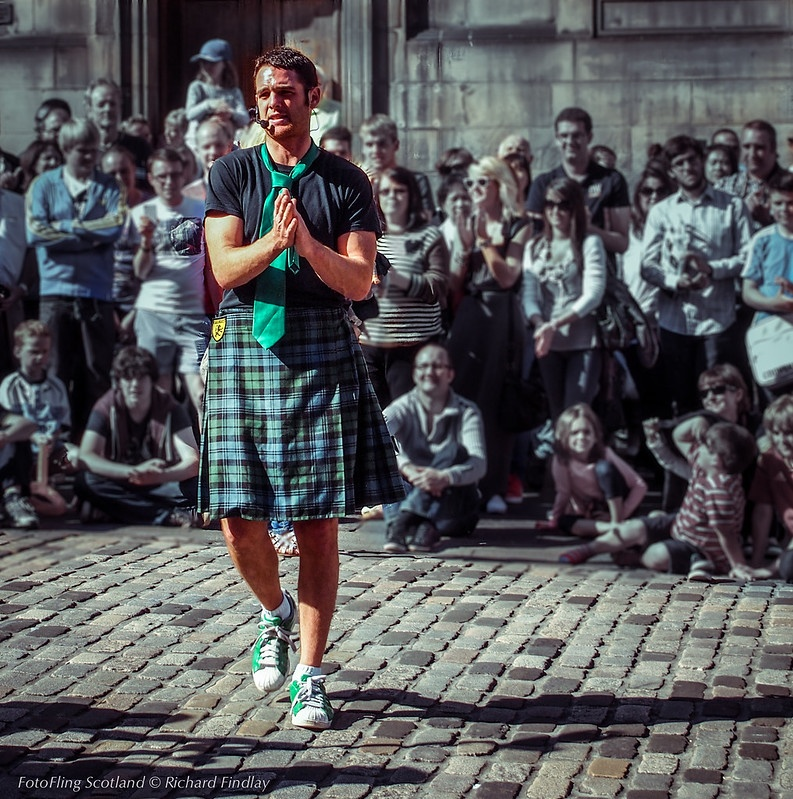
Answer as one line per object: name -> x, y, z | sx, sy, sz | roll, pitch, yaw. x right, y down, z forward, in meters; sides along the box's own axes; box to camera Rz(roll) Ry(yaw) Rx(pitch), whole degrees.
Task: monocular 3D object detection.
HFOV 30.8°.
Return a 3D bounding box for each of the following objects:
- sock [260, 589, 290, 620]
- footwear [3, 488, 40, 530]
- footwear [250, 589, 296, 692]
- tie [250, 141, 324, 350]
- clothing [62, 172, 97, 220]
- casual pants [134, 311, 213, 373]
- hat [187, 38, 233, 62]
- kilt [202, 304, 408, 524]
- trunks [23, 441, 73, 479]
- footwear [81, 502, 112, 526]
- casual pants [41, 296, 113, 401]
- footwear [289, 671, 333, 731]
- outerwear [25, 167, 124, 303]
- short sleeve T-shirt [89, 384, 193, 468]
sock -> -0.362, 0.585, 4.297 | 0.045, 0.122, 0.053 | 7, 6, 12
footwear -> -1.740, 0.498, 6.620 | 0.095, 0.121, 0.264 | -13, 17, -34
footwear -> -0.363, 0.703, 4.282 | 0.120, 0.118, 0.338 | 3, 37, 5
tie -> -0.310, -0.424, 3.985 | 0.176, 0.561, 0.137 | 0, 6, -3
clothing -> -1.477, -0.949, 6.710 | 0.145, 0.198, 0.076 | -2, 9, -26
casual pants -> -1.101, -0.285, 6.975 | 0.359, 0.341, 0.206 | 0, 0, -21
hat -> -1.148, -2.148, 8.911 | 0.139, 0.118, 0.229 | 1, -1, 33
kilt -> -0.292, 0.036, 4.159 | 0.617, 0.600, 0.383 | -4, -1, 9
trunks -> -1.626, 0.265, 6.785 | 0.178, 0.192, 0.081 | -2, 9, -10
footwear -> -1.417, 0.526, 6.755 | 0.111, 0.107, 0.109 | 0, 8, -9
casual pants -> -1.466, -0.271, 6.849 | 0.157, 0.428, 0.233 | -10, 20, -43
footwear -> -0.240, 0.837, 4.117 | 0.114, 0.111, 0.315 | 8, 6, -6
outerwear -> -1.548, -0.781, 6.884 | 0.449, 0.610, 0.324 | 3, 6, -17
short sleeve T-shirt -> -1.215, 0.082, 6.844 | 0.536, 0.430, 0.289 | -3, 37, -8
